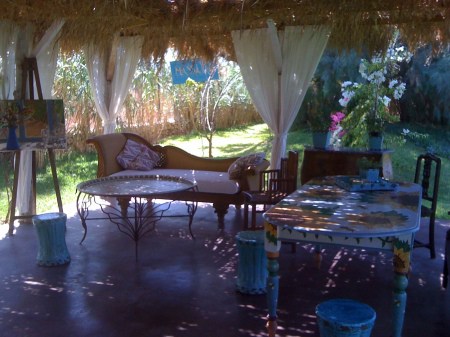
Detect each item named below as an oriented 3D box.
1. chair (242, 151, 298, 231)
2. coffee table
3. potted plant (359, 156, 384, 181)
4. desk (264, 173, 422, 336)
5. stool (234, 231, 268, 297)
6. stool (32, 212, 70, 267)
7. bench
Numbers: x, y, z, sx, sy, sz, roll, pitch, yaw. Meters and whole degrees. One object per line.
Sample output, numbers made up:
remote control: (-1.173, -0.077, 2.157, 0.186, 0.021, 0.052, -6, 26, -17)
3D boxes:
chair: (0.556, 0.337, 5.242, 0.611, 1.076, 0.671, 2, 8, -24)
coffee table: (-1.312, 0.471, 5.651, 1.519, 0.896, 2.425, -8, 10, -21)
potted plant: (1.547, 0.005, 4.223, 0.250, 0.347, 0.250, 0, 0, -8)
desk: (1.070, 0.740, 3.487, 1.111, 1.019, 1.373, 1, 11, 29)
stool: (0.287, 0.962, 4.148, 0.383, 0.526, 0.429, 4, 7, 21)
stool: (-2.054, 0.803, 4.729, 0.363, 0.574, 0.383, -7, 12, -29)
bench: (-0.727, 0.177, 6.403, 2.891, 1.423, 1.085, 3, 5, 22)
